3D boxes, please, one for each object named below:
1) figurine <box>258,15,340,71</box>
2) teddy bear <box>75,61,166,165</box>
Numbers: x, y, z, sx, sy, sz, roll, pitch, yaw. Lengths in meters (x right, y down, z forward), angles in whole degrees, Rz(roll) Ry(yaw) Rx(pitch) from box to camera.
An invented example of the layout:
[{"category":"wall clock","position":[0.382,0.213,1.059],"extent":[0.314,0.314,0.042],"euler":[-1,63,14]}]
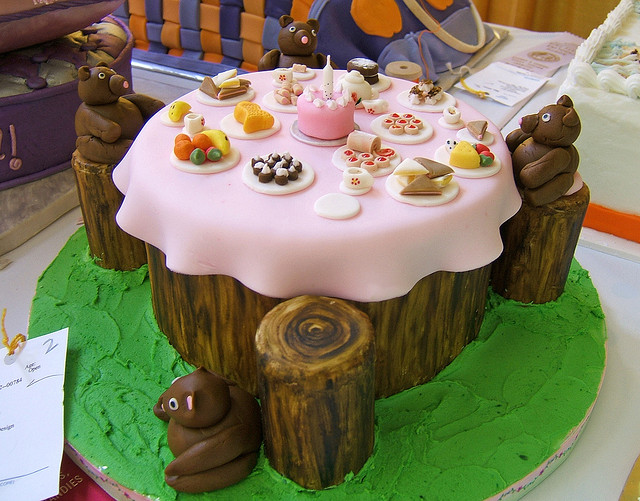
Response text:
[{"category":"figurine","position":[-0.079,-0.696,1.845],"extent":[0.250,0.241,0.169],"euler":[4,14,-5]},{"category":"teddy bear","position":[-0.643,-0.437,1.612],"extent":[0.214,0.287,0.303],"euler":[15,38,11]}]
